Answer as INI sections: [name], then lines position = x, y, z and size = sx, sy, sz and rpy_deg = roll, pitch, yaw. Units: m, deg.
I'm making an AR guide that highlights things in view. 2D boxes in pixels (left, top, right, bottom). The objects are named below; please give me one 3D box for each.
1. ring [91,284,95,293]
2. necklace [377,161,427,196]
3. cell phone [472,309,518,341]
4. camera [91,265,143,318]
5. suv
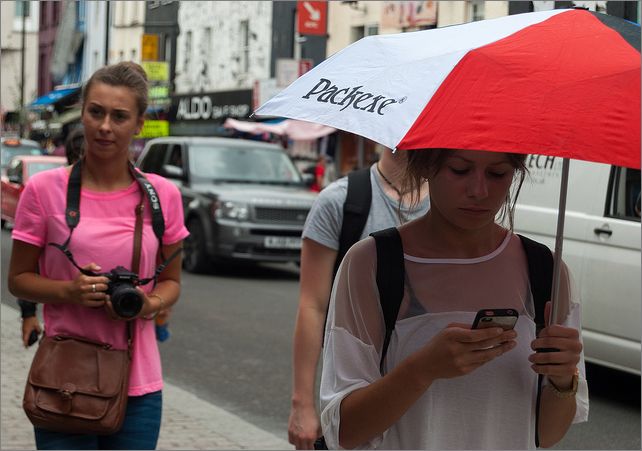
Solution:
[ring]
position = -0.853, 0.232, 2.427
size = 0.017, 0.029, 0.009
rpy_deg = 1, 2, -17
[necklace]
position = 0.300, -0.169, 2.384
size = 0.099, 0.160, 0.082
rpy_deg = 0, -2, -23
[cell phone]
position = 0.475, 0.257, 1.788
size = 0.127, 0.061, 0.046
rpy_deg = 1, 5, -8
[camera]
position = -0.772, 0.250, 2.524
size = 0.188, 0.135, 0.211
rpy_deg = 2, 19, -43
[suv]
position = -1.606, -0.522, 11.448
size = 1.936, 1.811, 3.340
rpy_deg = 1, 3, -25
